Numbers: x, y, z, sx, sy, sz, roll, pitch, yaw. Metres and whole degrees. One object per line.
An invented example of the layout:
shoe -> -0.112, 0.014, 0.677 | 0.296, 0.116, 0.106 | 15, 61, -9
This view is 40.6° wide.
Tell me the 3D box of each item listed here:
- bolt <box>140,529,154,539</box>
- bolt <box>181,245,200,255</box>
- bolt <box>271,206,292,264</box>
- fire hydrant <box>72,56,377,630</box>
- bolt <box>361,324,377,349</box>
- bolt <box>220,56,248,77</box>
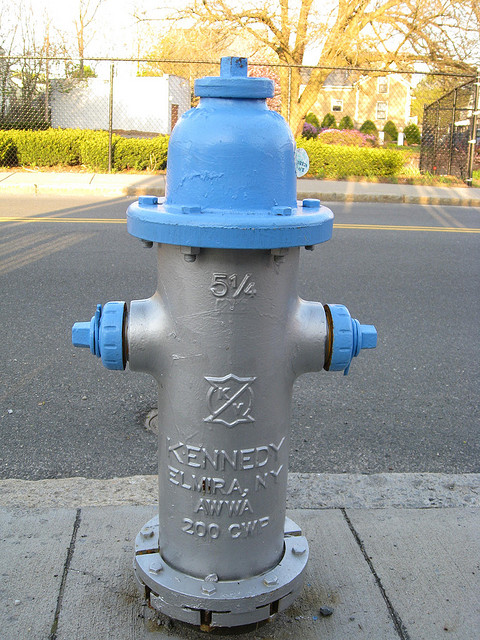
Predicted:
bolt -> -0.287, 0.667, 2.020 | 0.025, 0.010, 0.025 | -2, 1, 30
bolt -> -0.116, -0.166, 1.551 | 0.026, 0.024, 0.026 | 1, 17, 2
bolt -> 0.093, -0.219, 1.608 | 0.052, 0.133, 0.063 | 8, 8, 18
fire hydrant -> -0.053, 0.108, 1.751 | 0.755, 1.554, 0.434 | 5, 14, 8
bolt -> 0.367, 0.050, 1.835 | 0.056, 0.055, 0.057 | -1, -2, 0
bolt -> -0.014, -0.628, 1.614 | 0.067, 0.048, 0.036 | -1, 6, -12
